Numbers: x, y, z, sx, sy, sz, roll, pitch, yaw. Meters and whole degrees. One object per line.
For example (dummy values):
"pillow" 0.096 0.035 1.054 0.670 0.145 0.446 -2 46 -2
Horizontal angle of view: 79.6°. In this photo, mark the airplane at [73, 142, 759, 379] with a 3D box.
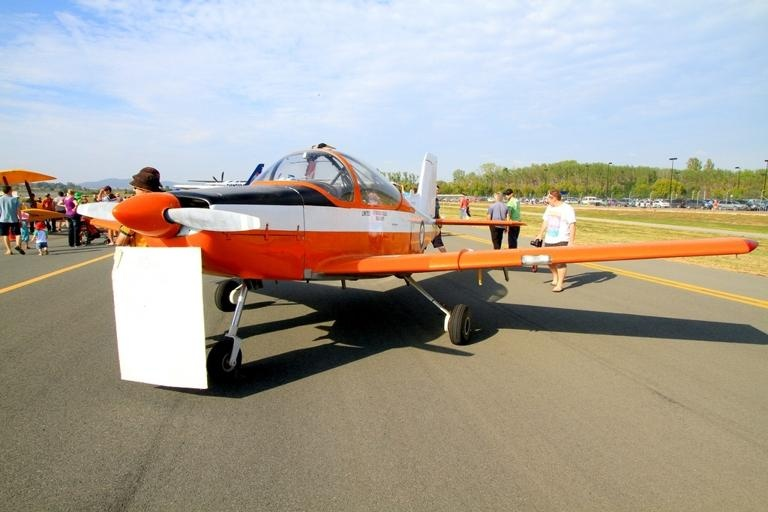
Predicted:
"airplane" -0.701 -0.433 6.059 6.092 1.416 4.869 12 13 27
